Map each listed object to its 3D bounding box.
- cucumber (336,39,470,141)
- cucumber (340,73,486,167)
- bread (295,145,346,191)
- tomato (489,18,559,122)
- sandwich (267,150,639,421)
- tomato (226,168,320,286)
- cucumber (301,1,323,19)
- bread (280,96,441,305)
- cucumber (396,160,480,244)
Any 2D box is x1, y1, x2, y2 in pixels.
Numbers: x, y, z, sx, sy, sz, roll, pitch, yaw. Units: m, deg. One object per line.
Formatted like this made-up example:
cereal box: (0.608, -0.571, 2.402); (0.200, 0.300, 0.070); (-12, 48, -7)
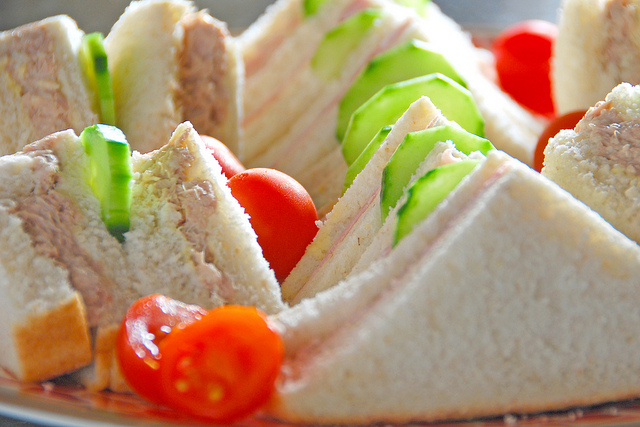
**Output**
cucumber: (0.123, -0.168, 0.989); (0.137, 0.148, 0.032); (-35, 62, -29)
cucumber: (0.107, -0.119, 0.921); (0.034, 0.119, 0.128); (57, -2, 45)
bread: (0.003, -0.065, 1.149); (0.018, 0.070, 0.067); (48, 9, -37)
tomato: (0.357, -0.244, 1.324); (0.112, 0.101, 0.147); (15, 63, -66)
sandwich: (0.141, 0.035, 0.789); (0.288, 0.263, 0.214); (-1, 74, -78)
tomato: (-0.054, 0.005, 0.926); (0.102, 0.159, 0.123); (0, 7, -2)
cucumber: (-0.014, -0.335, 1.259); (0.024, 0.029, 0.027); (-1, 8, 3)
bread: (0.049, -0.009, 0.850); (0.037, 0.275, 0.060); (28, -1, -23)
cucumber: (0.108, -0.021, 0.753); (0.048, 0.029, 0.089); (20, 56, -4)
